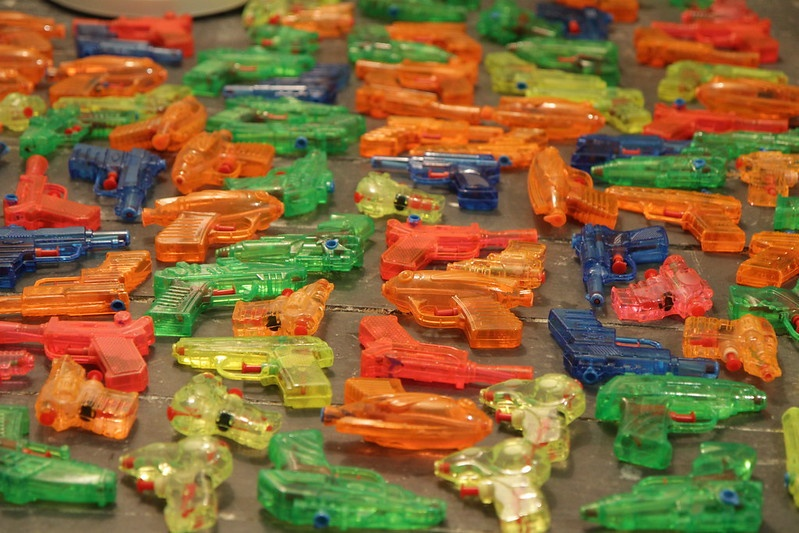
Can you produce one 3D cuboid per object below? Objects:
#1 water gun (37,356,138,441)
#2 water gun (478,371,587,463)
[{"bbox_3d":[-1.464,0.623,3.856,0.373,0.169,0.368,7,41,-10],"label":"water gun"},{"bbox_3d":[0.609,0.681,3.901,0.475,0.166,0.502,10,32,19],"label":"water gun"}]
